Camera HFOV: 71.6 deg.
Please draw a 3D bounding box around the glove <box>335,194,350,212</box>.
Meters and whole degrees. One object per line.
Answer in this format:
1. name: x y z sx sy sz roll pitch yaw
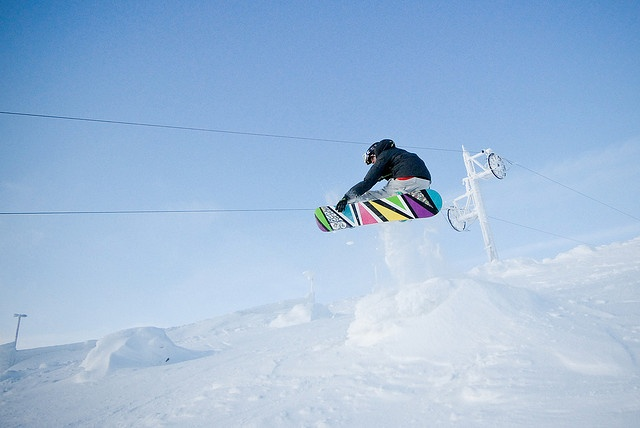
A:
1. glove: 0.691 -0.311 13.669 0.162 0.277 0.507 22 -34 -29
